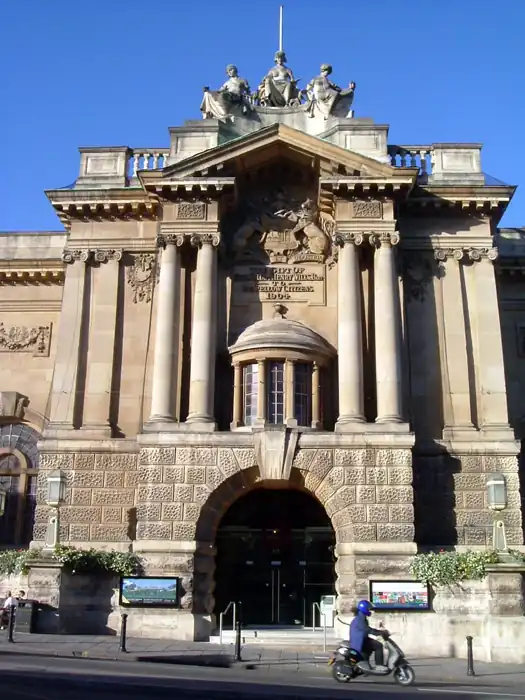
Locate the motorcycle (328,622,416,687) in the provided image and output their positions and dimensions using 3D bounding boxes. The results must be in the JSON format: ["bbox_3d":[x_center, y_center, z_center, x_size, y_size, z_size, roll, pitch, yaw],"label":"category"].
[{"bbox_3d":[2.077,5.831,14.050,1.614,0.936,0.652,3,-18,-1],"label":"motorcycle"}]

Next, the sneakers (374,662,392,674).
[{"bbox_3d":[2.179,5.857,13.577,0.200,0.121,0.108,-6,-11,6],"label":"sneakers"}]
